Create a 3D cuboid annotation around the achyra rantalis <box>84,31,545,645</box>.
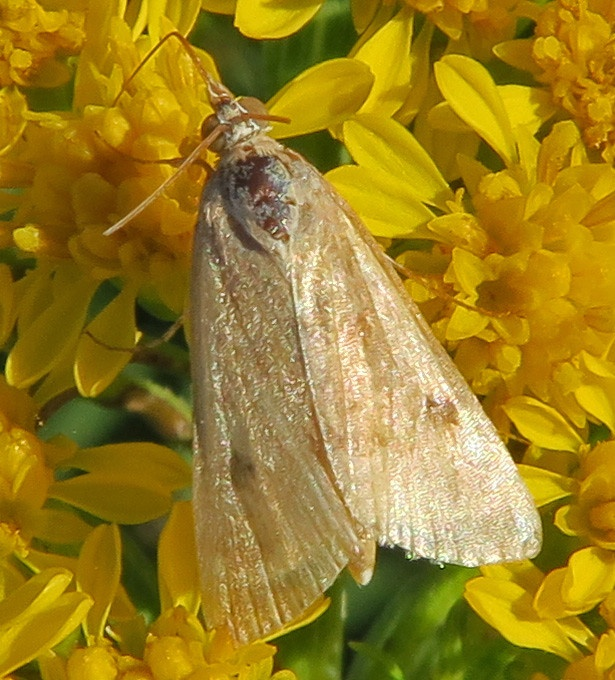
[{"bbox_3d":[0.020,-0.010,0.953,0.483,0.133,0.488,-12,98,9],"label":"achyra rantalis"}]
